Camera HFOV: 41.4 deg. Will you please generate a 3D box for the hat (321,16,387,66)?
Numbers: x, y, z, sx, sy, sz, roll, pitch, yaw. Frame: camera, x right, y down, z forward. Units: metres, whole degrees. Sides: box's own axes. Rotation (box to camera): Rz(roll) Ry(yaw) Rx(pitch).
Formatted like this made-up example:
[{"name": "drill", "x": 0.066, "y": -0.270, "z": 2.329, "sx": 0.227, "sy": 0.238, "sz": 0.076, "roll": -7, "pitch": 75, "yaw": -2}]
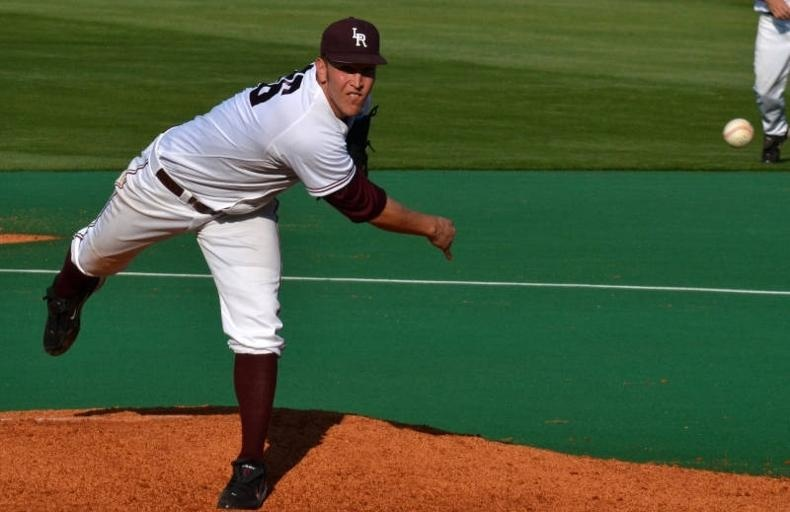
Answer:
[{"name": "hat", "x": -0.359, "y": -1.687, "z": 8.278, "sx": 0.395, "sy": 0.245, "sz": 0.481, "roll": -5, "pitch": 12, "yaw": -28}]
